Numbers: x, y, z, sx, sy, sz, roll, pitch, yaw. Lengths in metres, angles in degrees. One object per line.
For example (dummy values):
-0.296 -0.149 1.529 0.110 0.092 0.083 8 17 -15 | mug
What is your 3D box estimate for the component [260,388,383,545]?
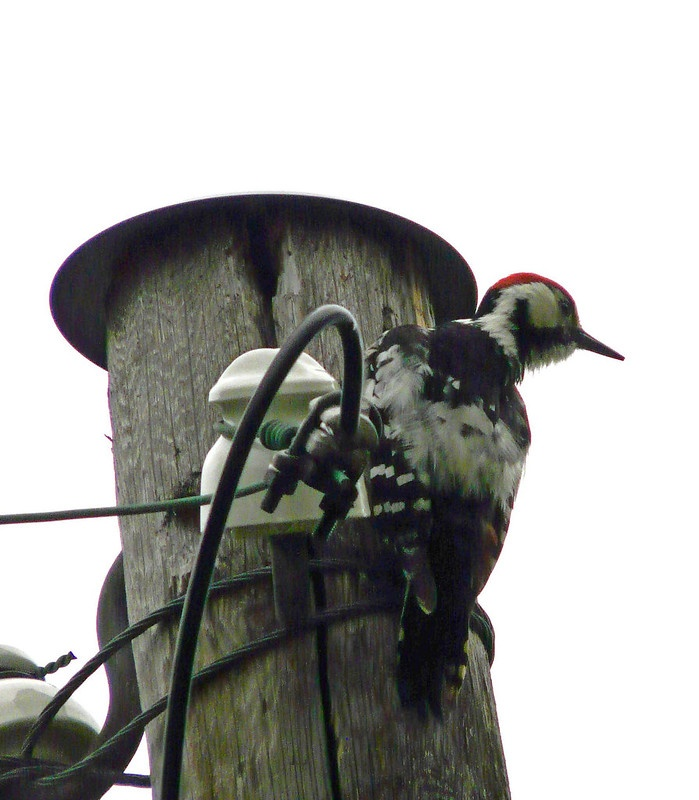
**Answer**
-0.045 0.097 5.382 0.144 0.116 0.242 23 -33 -1 | component
